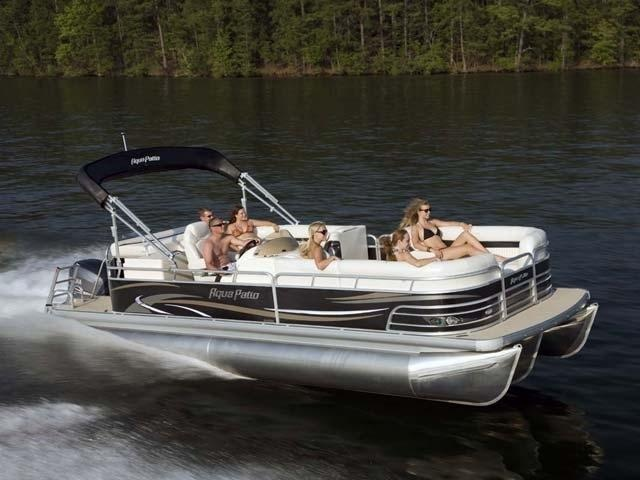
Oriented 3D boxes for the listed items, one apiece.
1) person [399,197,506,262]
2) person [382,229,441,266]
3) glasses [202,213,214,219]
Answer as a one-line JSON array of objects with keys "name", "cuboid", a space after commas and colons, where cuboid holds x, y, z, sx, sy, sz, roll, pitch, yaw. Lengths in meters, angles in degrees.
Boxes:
[{"name": "person", "cuboid": [1.896, -0.075, 9.659, 1.913, 0.683, 0.641, 10, 30, 1]}, {"name": "person", "cuboid": [1.259, 0.108, 8.889, 0.966, 0.317, 0.536, 1, 21, -2]}, {"name": "glasses", "cuboid": [-1.769, -0.379, 10.611, 0.227, 0.107, 0.165, 0, 0, 19]}]
